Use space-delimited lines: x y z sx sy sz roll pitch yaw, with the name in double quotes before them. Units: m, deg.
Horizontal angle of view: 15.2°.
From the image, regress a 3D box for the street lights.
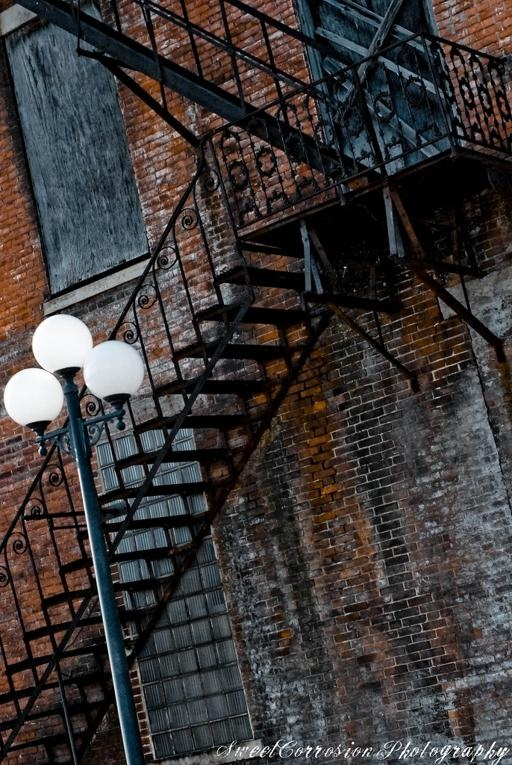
"street lights" -0.967 0.983 12.648 0.901 3.023 0.999 -13 -18 -9
